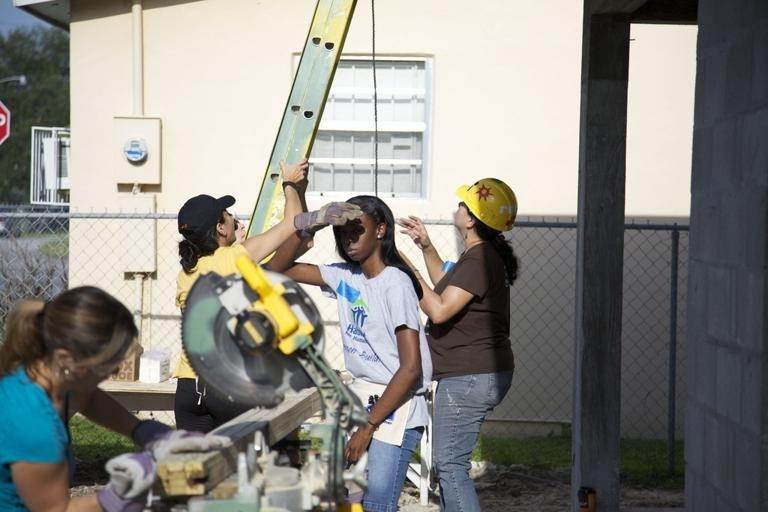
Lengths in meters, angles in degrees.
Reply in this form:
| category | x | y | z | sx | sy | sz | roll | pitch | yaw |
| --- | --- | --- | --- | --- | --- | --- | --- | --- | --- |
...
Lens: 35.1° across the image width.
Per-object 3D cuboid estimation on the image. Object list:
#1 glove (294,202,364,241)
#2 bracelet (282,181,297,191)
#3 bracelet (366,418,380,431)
| category | x | y | z | sx | sy | sz | roll | pitch | yaw |
| --- | --- | --- | --- | --- | --- | --- | --- | --- | --- |
| glove | -0.443 | -0.344 | 10.355 | 0.363 | 0.265 | 0.897 | 2 | -2 | -33 |
| bracelet | -0.839 | -0.660 | 10.989 | 0.065 | 0.060 | 0.093 | 3 | 8 | 15 |
| bracelet | -0.073 | 1.397 | 10.236 | 0.065 | 0.104 | 0.130 | 8 | -29 | 36 |
